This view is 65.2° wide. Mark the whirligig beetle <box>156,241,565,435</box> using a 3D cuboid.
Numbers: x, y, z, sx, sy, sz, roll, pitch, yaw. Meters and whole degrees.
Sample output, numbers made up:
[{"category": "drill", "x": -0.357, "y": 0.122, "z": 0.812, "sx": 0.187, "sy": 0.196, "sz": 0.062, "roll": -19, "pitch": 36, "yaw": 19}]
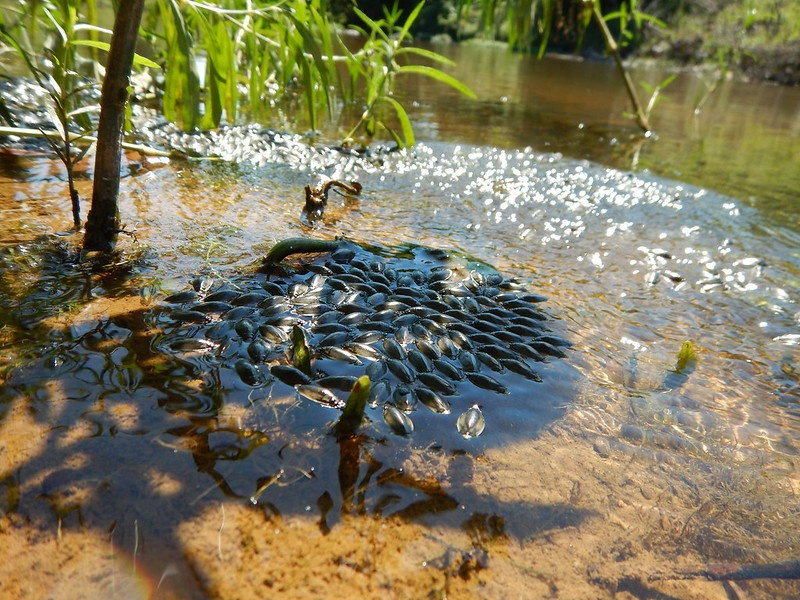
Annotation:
[{"category": "whirligig beetle", "x": -0.111, "y": 0.128, "z": 2.496, "sx": 1.142, "sy": 0.074, "sz": 0.930, "roll": -3, "pitch": 27, "yaw": -29}]
